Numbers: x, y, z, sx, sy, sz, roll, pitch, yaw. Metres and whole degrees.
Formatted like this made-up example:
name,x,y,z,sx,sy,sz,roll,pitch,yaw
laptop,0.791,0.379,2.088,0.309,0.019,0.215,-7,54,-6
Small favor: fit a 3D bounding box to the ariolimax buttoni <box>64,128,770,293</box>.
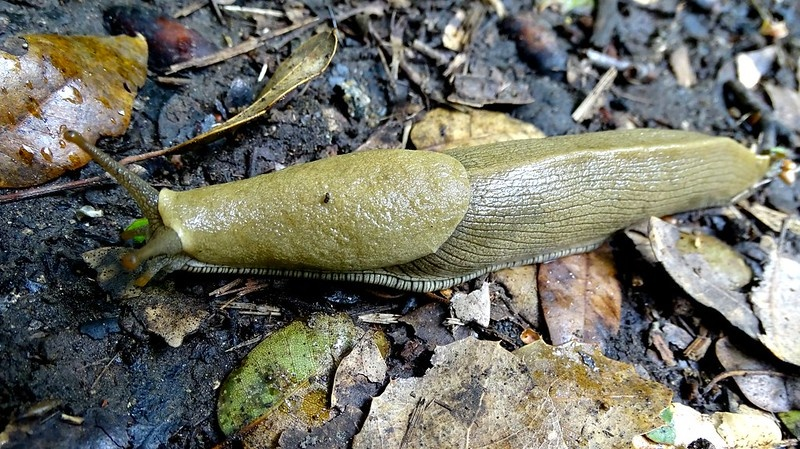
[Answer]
name,x,y,z,sx,sy,sz,roll,pitch,yaw
ariolimax buttoni,0.352,-0.117,7.054,5.817,0.873,1.214,-5,71,-10
